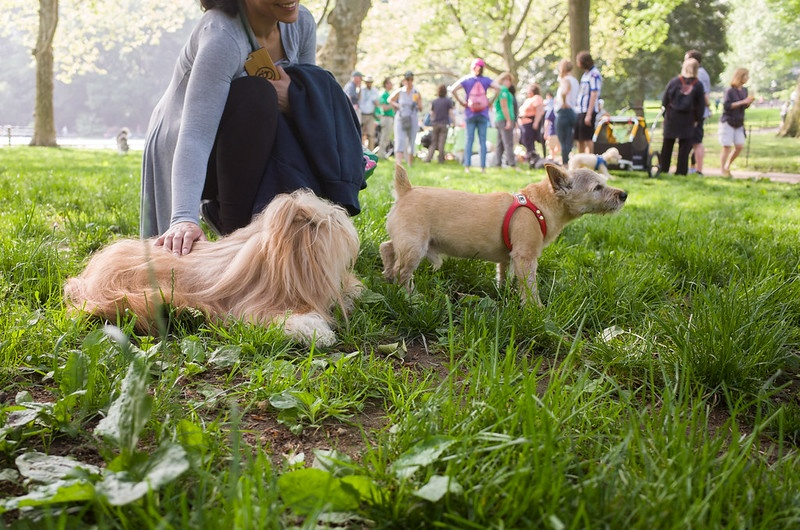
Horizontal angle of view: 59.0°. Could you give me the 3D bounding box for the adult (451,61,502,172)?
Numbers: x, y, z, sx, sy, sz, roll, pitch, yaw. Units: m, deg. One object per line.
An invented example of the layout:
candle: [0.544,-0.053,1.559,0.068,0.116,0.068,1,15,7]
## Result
adult: [1.617,-3.033,14.701,1.029,2.367,0.814,2,-4,23]

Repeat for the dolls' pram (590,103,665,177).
dolls' pram: [4.917,-2.682,15.466,1.183,1.624,1.692,4,25,12]

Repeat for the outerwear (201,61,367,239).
outerwear: [-0.763,-0.798,4.768,0.934,1.266,0.656,5,12,-19]

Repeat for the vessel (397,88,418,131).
vessel: [0.210,-3.763,16.736,0.281,0.754,1.372,-1,37,-8]

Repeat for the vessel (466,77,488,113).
vessel: [1.556,-3.367,14.186,0.401,0.617,0.271,3,10,4]

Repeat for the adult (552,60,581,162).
adult: [3.439,-3.152,14.659,0.445,2.151,1.356,5,10,12]
